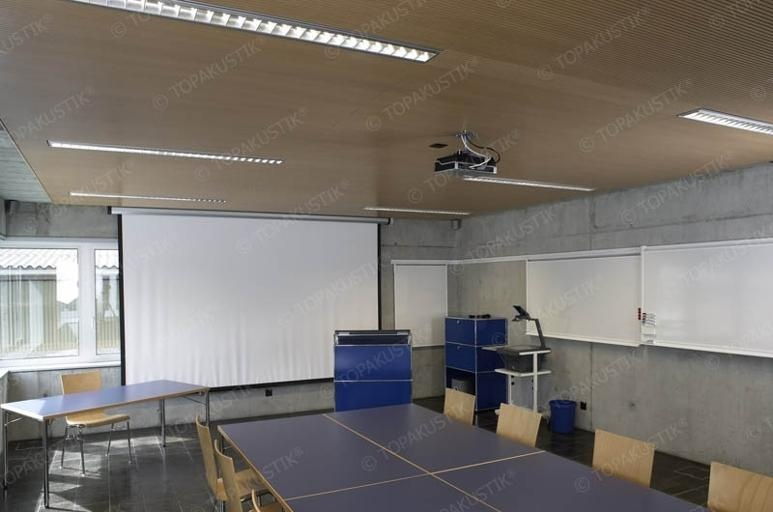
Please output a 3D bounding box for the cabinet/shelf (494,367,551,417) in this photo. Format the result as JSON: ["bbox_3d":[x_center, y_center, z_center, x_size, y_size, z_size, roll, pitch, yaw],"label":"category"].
[{"bbox_3d":[2.310,2.100,9.676,0.788,0.820,0.872,-1,1,-31],"label":"cabinet/shelf"}]

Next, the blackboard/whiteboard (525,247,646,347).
[{"bbox_3d":[3.056,0.639,9.117,0.106,1.415,2.011,2,-5,-35],"label":"blackboard/whiteboard"}]

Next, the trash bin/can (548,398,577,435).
[{"bbox_3d":[2.793,2.544,9.114,0.429,0.399,0.459,1,-4,-15],"label":"trash bin/can"}]

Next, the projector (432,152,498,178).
[{"bbox_3d":[0.818,-0.940,5.930,0.389,0.138,0.380,1,-3,-33],"label":"projector"}]

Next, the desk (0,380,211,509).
[{"bbox_3d":[-3.783,2.420,7.646,2.108,1.262,1.036,4,-6,-44],"label":"desk"}]
